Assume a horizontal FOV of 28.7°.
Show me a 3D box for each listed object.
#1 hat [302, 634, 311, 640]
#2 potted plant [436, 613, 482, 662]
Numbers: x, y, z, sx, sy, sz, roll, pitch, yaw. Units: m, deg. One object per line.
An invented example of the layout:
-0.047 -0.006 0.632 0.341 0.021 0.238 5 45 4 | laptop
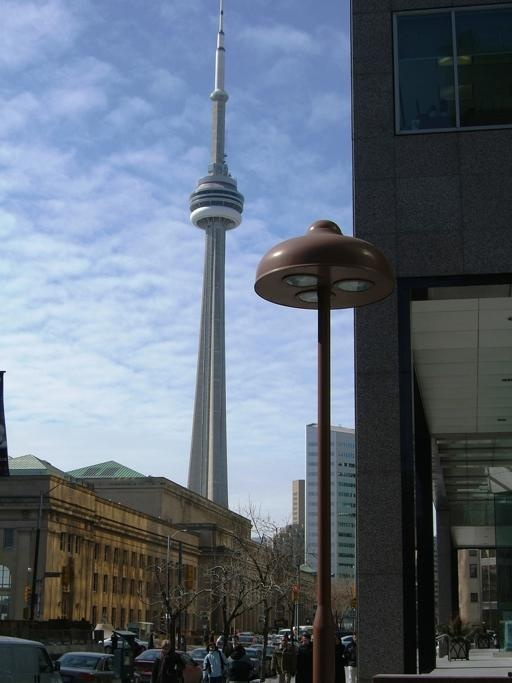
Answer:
0.920 5.335 18.092 0.121 0.145 0.151 3 -3 -3 | hat
6.478 9.500 31.827 1.278 1.216 1.127 3 -18 -11 | potted plant
